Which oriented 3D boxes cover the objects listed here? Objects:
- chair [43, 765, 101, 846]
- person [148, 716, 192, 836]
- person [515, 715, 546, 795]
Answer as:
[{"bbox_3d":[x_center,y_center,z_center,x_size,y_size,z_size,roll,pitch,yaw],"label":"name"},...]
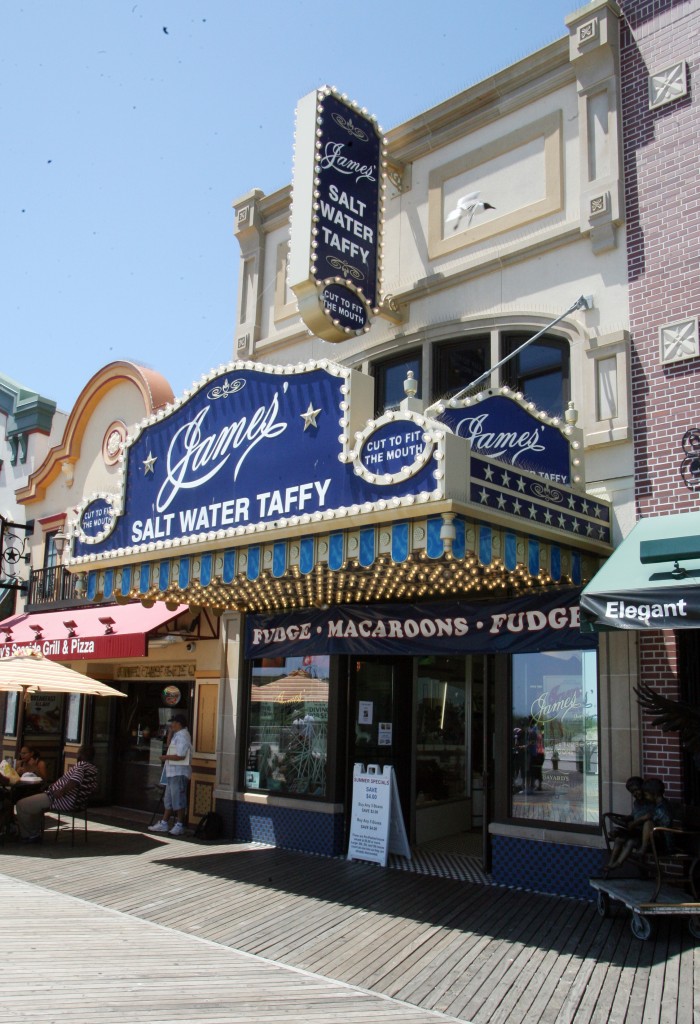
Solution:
[{"bbox_3d":[-3.626,3.686,11.803,0.636,1.121,0.703,7,-8,1],"label":"chair"},{"bbox_3d":[-2.485,3.659,12.872,0.511,1.542,1.210,2,-11,-10],"label":"person"},{"bbox_3d":[1.779,2.433,9.183,0.100,0.733,0.389,6,-13,-28],"label":"person"}]
